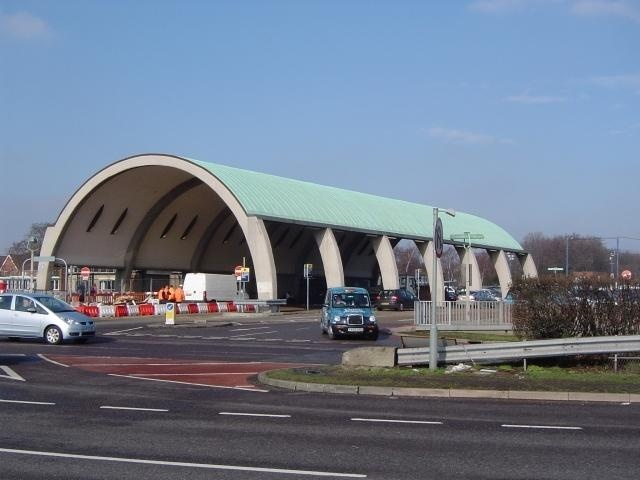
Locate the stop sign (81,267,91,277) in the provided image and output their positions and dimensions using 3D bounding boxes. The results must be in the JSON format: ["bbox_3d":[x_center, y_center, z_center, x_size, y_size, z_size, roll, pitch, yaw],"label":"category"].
[{"bbox_3d":[-14.278,1.947,53.604,0.743,0.796,0.147,6,14,21],"label":"stop sign"}]

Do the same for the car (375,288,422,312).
[{"bbox_3d":[5.030,3.760,55.118,1.397,0.859,2.310,-1,1,35],"label":"car"}]

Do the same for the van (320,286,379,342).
[{"bbox_3d":[1.133,2.705,32.433,1.772,2.018,1.657,1,-10,-14],"label":"van"}]
